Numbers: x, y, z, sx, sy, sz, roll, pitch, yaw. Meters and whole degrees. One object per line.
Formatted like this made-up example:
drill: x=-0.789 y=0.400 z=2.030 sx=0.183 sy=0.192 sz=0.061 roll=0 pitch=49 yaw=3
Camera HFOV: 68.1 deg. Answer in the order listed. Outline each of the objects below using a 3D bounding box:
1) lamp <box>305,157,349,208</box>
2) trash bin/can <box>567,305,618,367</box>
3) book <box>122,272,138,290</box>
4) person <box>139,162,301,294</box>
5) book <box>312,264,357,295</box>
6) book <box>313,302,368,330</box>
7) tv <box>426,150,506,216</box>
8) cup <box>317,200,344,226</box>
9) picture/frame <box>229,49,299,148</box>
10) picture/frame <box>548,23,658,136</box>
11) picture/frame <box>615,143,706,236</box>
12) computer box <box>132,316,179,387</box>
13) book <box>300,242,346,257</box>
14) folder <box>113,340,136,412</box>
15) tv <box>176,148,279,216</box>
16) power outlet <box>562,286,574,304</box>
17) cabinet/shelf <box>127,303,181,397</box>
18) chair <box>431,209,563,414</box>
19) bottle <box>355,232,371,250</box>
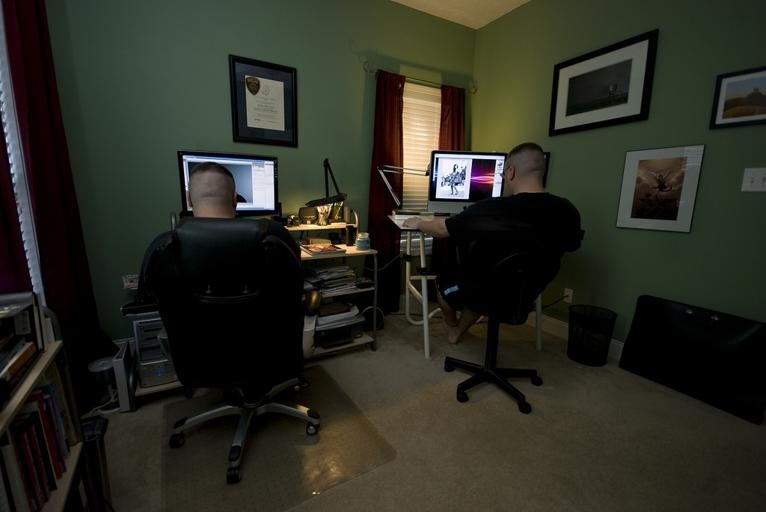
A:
lamp: x=-0.466 y=-0.600 z=4.673 sx=0.297 sy=0.367 sz=0.642 roll=-2 pitch=14 yaw=-4
trash bin/can: x=1.658 y=0.630 z=4.534 sx=0.360 sy=0.407 sz=0.351 roll=-3 pitch=14 yaw=-23
book: x=-1.819 y=0.180 z=4.080 sx=0.130 sy=0.097 sz=0.115 roll=2 pitch=-2 yaw=-10
person: x=-1.073 y=-0.179 z=3.607 sx=0.802 sy=0.645 sz=0.428 roll=-4 pitch=30 yaw=-13
book: x=-0.388 y=0.187 z=4.569 sx=0.412 sy=0.169 sz=0.232 roll=-6 pitch=14 yaw=-21
book: x=-0.388 y=0.472 z=4.583 sx=0.390 sy=0.102 sz=0.251 roll=-8 pitch=15 yaw=-28
tv: x=0.694 y=-0.604 z=4.672 sx=0.598 sy=0.522 sz=0.198 roll=1 pitch=11 yaw=-5
cup: x=-0.419 y=-0.359 z=4.688 sx=0.249 sy=0.263 sz=0.147 roll=-2 pitch=5 yaw=-33
picture/frame: x=-0.972 y=-1.287 z=4.554 sx=0.779 sy=0.916 sz=0.062 roll=-4 pitch=10 yaw=-32
picture/frame: x=1.777 y=-1.402 z=4.486 sx=0.049 sy=0.838 sz=1.005 roll=2 pitch=1 yaw=-40
picture/frame: x=2.108 y=-0.502 z=4.260 sx=0.631 sy=0.825 sz=0.038 roll=9 pitch=10 yaw=38
computer box: x=-1.650 y=0.700 z=4.103 sx=0.319 sy=0.469 sz=0.316 roll=-7 pitch=-5 yaw=-12
book: x=-0.472 y=-0.051 z=4.495 sx=0.335 sy=0.053 sz=0.367 roll=-6 pitch=14 yaw=-21
folder: x=-1.780 y=0.857 z=3.928 sx=0.080 sy=0.361 sz=0.421 roll=-6 pitch=11 yaw=-19
tv: x=-1.078 y=-0.506 z=3.966 sx=0.542 sy=0.384 sz=0.140 roll=-5 pitch=11 yaw=-30
power outlet: x=1.570 y=0.332 z=4.803 sx=0.016 sy=0.154 sz=0.114 roll=2 pitch=17 yaw=-33
cabinet/shelf: x=-1.660 y=0.689 z=4.107 sx=0.346 sy=0.481 sz=0.351 roll=-5 pitch=1 yaw=-3
chair: x=0.856 y=0.354 z=4.215 sx=0.831 sy=1.284 sz=0.804 roll=10 pitch=9 yaw=34
bottle: x=-0.158 y=-0.118 z=4.581 sx=0.109 sy=0.122 sz=0.126 roll=0 pitch=-1 yaw=36
